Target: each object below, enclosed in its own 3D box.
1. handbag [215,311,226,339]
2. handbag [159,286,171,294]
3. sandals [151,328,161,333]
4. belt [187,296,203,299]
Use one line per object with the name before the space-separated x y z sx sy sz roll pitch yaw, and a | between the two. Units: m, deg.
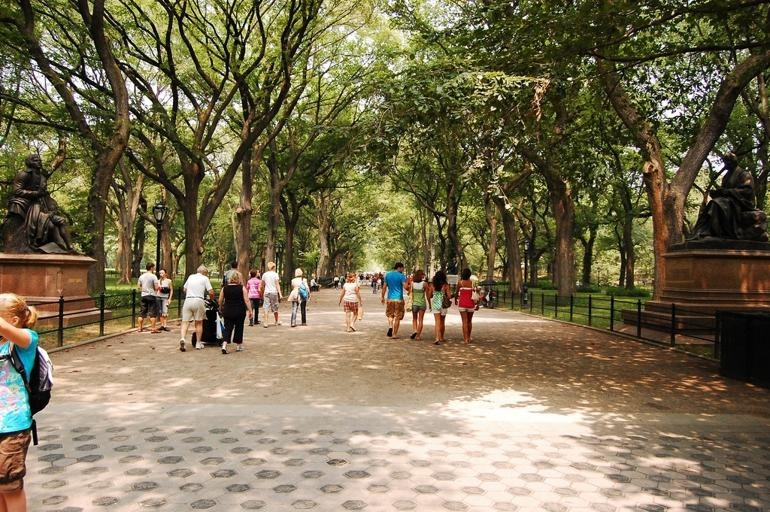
handbag | -4.487 1.944 14.763 0.194 0.755 0.850 0 2 -18
handbag | -7.210 1.137 17.861 0.245 0.120 0.188 -2 4 34
sandals | -7.445 2.433 17.668 0.296 0.113 0.114 0 4 -8
belt | -5.084 1.115 14.538 0.381 0.090 0.084 0 2 -18
